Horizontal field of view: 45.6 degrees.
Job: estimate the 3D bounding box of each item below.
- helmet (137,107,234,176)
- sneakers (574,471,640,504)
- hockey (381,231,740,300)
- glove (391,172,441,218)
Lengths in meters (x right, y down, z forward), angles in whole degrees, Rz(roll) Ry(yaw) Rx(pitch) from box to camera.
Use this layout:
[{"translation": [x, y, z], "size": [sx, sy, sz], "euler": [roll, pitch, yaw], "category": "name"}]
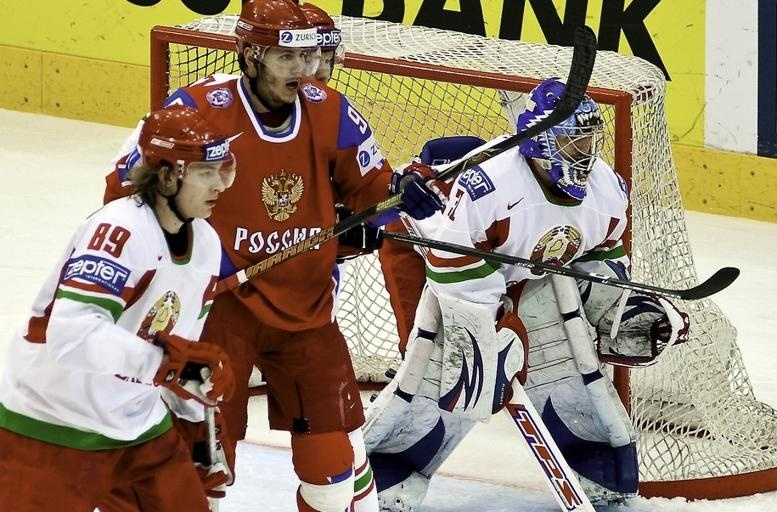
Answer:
[{"translation": [-0.568, -0.345, 2.663], "size": [0.238, 0.216, 0.175], "euler": [6, 23, 4], "category": "helmet"}, {"translation": [0.855, 0.937, 3.609], "size": [0.212, 0.157, 0.081], "euler": [30, 40, -7], "category": "sneakers"}, {"translation": [0.562, -0.006, 3.095], "size": [1.218, 0.160, 0.148], "euler": [11, 3, -3], "category": "hockey"}, {"translation": [0.099, -0.201, 2.948], "size": [0.163, 0.118, 0.065], "euler": [38, 22, 10], "category": "glove"}]
